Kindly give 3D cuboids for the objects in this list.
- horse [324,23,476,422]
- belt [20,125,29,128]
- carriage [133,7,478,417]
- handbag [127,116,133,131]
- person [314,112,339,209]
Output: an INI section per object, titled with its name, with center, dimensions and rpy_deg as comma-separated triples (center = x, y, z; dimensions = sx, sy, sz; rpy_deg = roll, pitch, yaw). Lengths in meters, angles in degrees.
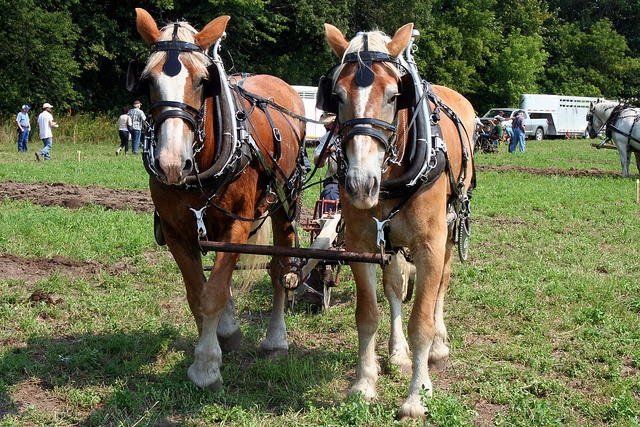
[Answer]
[horse]
center = 1.116, -0.063, 9.935
dimensions = 1.398, 4.901, 3.375
rpy_deg = 1, 7, 7
[belt]
center = -10.218, -3.011, 24.093
dimensions = 0.215, 0.083, 0.176
rpy_deg = 0, 10, -14
[carriage]
center = -0.006, -0.263, 11.992
dimensions = 4.583, 5.049, 6.159
rpy_deg = 1, 3, 14
[handbag]
center = -6.648, -3.121, 24.468
dimensions = 0.139, 0.446, 0.256
rpy_deg = -4, 11, -33
[person]
center = 0.146, -0.882, 11.267
dimensions = 0.385, 1.183, 0.673
rpy_deg = 1, 0, 0
